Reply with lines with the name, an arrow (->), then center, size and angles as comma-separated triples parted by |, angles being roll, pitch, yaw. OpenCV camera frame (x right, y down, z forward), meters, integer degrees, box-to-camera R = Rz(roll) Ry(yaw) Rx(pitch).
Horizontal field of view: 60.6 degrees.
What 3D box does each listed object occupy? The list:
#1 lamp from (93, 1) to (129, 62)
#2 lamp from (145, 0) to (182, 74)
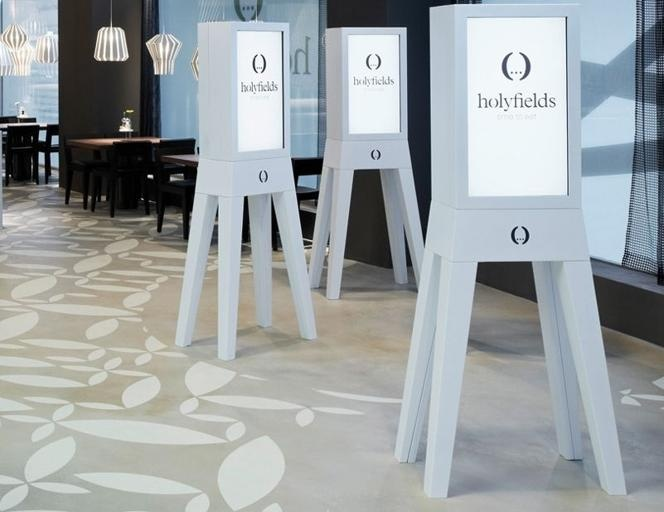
lamp -> -3.572, -3.700, 9.161 | 0.544, 1.113, 1.699 | -4, 14, -20
lamp -> -2.563, -3.256, 8.812 | 0.707, 0.883, 0.709 | 0, 4, -6
